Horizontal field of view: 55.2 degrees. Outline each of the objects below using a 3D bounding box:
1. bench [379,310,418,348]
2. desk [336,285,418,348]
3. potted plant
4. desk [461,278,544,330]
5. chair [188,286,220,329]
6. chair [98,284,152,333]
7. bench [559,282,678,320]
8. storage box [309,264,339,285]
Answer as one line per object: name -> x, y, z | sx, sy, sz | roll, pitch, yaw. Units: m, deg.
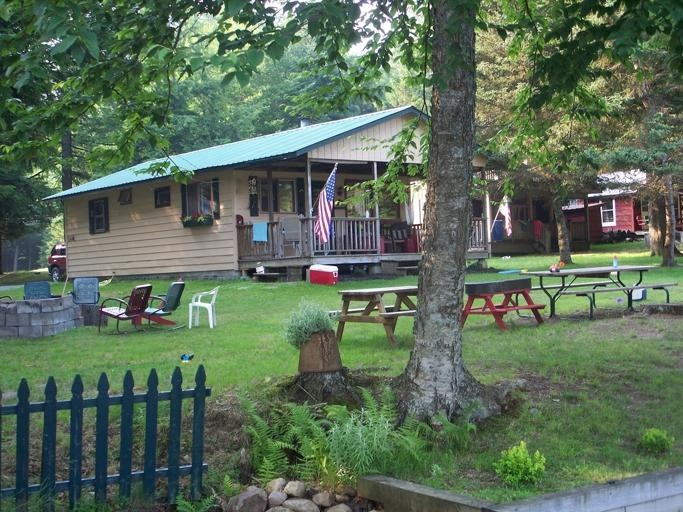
bench -> 0.817, 1.115, 10.620 | 0.656, 0.687, 0.642 | 0, -4, -40
desk -> 0.550, 0.886, 10.816 | 0.989, 0.617, 1.154 | -5, -5, 43
potted plant -> -0.317, 1.022, 7.843 | 0.631, 0.949, 0.784 | 3, -14, -28
desk -> 2.742, 0.781, 11.961 | 1.102, 0.812, 1.259 | -6, -4, 44
chair -> -3.087, 1.196, 14.784 | 0.698, 1.131, 0.740 | 1, -1, -1
chair -> -4.801, 1.198, 14.533 | 1.108, 1.160, 0.847 | 1, -1, 27
bench -> 5.991, 0.922, 13.988 | 1.794, 0.660, 5.097 | -3, -4, 25
storage box -> -0.508, 0.586, 19.705 | 0.780, 0.568, 0.458 | 6, 4, 42
